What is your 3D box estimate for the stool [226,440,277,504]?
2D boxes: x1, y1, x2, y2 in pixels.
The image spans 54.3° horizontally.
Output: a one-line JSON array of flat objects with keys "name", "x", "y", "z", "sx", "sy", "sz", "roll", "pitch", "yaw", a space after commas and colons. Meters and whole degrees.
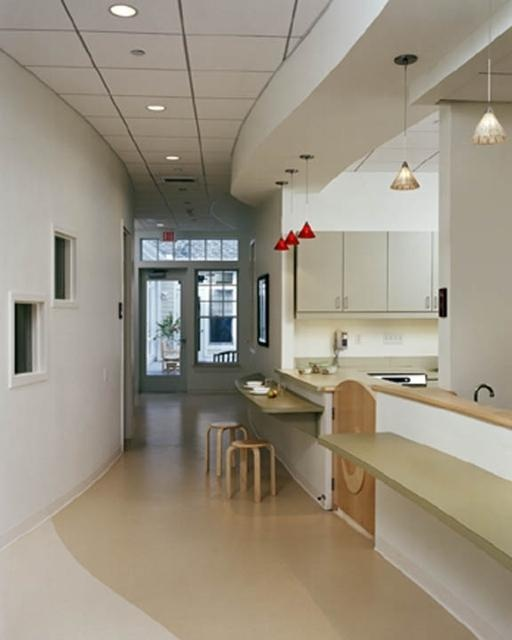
[{"name": "stool", "x": -0.043, "y": 1.200, "z": 4.087, "sx": 0.413, "sy": 0.623, "sz": 0.439, "roll": 1, "pitch": -4, "yaw": 2}]

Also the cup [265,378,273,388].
[{"name": "cup", "x": 0.123, "y": 0.623, "z": 5.016, "sx": 0.052, "sy": 0.089, "sz": 0.085, "roll": 2, "pitch": 1, "yaw": -8}]

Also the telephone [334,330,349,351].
[{"name": "telephone", "x": 0.888, "y": 0.218, "z": 5.246, "sx": 0.126, "sy": 0.223, "sz": 0.334, "roll": 0, "pitch": -2, "yaw": 17}]

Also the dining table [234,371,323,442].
[{"name": "dining table", "x": 0.093, "y": 0.861, "z": 4.750, "sx": 0.480, "sy": 0.514, "sz": 2.232, "roll": 1, "pitch": -2, "yaw": -9}]

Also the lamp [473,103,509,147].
[{"name": "lamp", "x": 0.730, "y": -0.624, "z": 1.577, "sx": 0.083, "sy": 0.150, "sz": 0.180, "roll": 0, "pitch": -2, "yaw": 19}]

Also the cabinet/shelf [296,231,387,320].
[{"name": "cabinet/shelf", "x": 0.814, "y": -0.455, "z": 5.002, "sx": 0.739, "sy": 0.763, "sz": 0.319, "roll": 0, "pitch": 0, "yaw": -3}]
